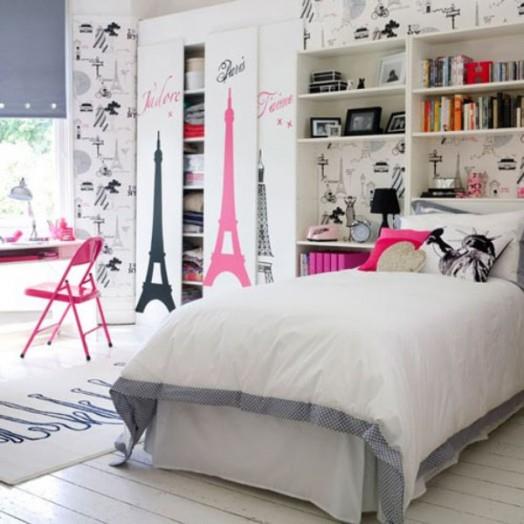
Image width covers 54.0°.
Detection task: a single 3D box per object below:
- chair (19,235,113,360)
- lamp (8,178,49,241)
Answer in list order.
[{"bbox_3d":[-1.473,0.256,3.818,0.639,0.815,0.632,3,5,38],"label":"chair"},{"bbox_3d":[-1.985,-0.462,4.364,0.272,0.561,0.544,-2,4,-24],"label":"lamp"}]
